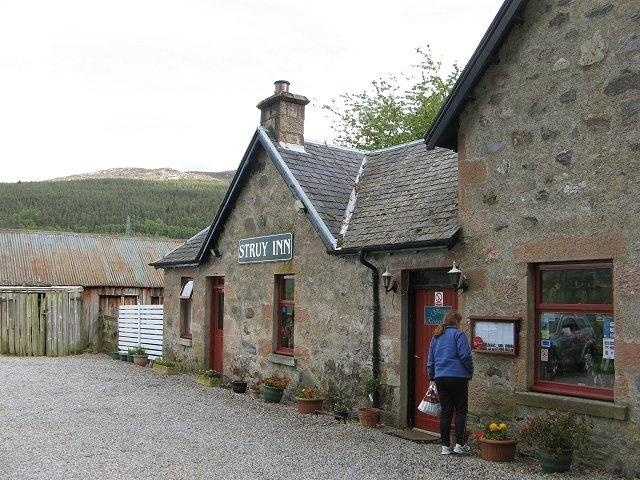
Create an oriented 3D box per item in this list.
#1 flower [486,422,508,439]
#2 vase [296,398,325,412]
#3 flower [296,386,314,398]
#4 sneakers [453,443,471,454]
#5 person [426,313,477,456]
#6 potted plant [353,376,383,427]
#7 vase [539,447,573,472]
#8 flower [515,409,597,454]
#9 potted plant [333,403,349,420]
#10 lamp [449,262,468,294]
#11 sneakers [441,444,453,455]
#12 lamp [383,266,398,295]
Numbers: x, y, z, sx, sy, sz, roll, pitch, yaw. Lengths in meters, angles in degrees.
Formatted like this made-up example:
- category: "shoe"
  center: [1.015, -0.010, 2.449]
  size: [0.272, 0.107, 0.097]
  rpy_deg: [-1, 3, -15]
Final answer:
- category: "flower"
  center: [2.752, 2.952, 10.214]
  size: [0.267, 0.219, 0.294]
  rpy_deg: [2, -7, -3]
- category: "vase"
  center: [-0.214, 3.329, 13.319]
  size: [0.329, 0.191, 0.362]
  rpy_deg: [0, -8, 5]
- category: "flower"
  center: [-0.289, 3.117, 13.438]
  size: [0.290, 0.177, 0.303]
  rpy_deg: [7, -9, -38]
- category: "sneakers"
  center: [2.308, 3.313, 10.493]
  size: [0.306, 0.170, 0.118]
  rpy_deg: [2, 0, -24]
- category: "person"
  center: [2.116, 2.287, 10.574]
  size: [0.725, 2.274, 0.393]
  rpy_deg: [-1, -6, 15]
- category: "potted plant"
  center: [0.905, 3.024, 12.337]
  size: [0.492, 0.897, 0.457]
  rpy_deg: [-3, -7, 30]
- category: "vase"
  center: [3.424, 3.167, 9.585]
  size: [0.339, 0.260, 0.372]
  rpy_deg: [2, -13, -6]
- category: "flower"
  center: [3.539, 2.741, 9.665]
  size: [0.623, 0.482, 0.653]
  rpy_deg: [-1, -1, 38]
- category: "potted plant"
  center: [0.426, 3.326, 12.831]
  size: [0.252, 0.263, 0.264]
  rpy_deg: [-5, -11, 37]
- category: "lamp"
  center: [2.346, 0.598, 11.086]
  size: [0.325, 0.537, 0.262]
  rpy_deg: [-5, -9, 45]
- category: "sneakers"
  center: [2.070, 3.361, 10.567]
  size: [0.221, 0.114, 0.088]
  rpy_deg: [-2, 3, -42]
- category: "lamp"
  center: [1.305, 0.761, 12.189]
  size: [0.373, 0.611, 0.259]
  rpy_deg: [9, -10, -43]
